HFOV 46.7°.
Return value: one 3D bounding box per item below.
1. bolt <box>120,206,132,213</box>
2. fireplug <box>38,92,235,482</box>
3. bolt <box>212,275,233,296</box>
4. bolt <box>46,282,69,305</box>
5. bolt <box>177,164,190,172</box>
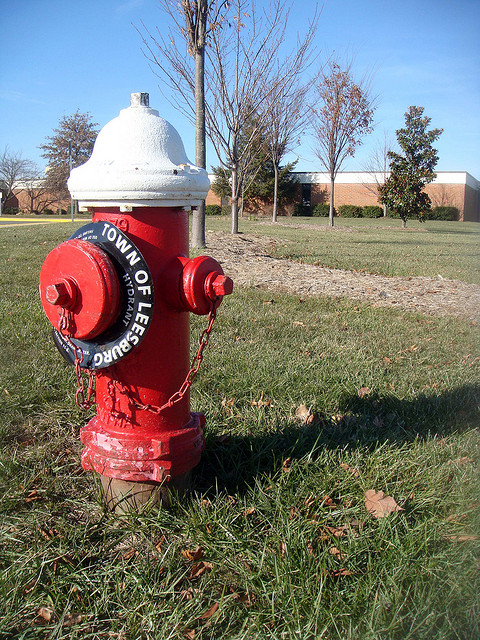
[{"bbox_3d":[-0.386,-0.379,1.901,0.022,0.023,0.006,6,10,7],"label":"bolt"},{"bbox_3d":[-0.375,-0.108,1.986,0.632,1.380,0.384,-5,12,-21],"label":"fireplug"},{"bbox_3d":[-0.060,-0.122,1.987,0.060,0.087,0.079,-4,-24,17],"label":"bolt"},{"bbox_3d":[-0.605,-0.088,1.824,0.093,0.069,0.049,10,16,41],"label":"bolt"},{"bbox_3d":[-0.197,-0.529,1.938,0.034,0.027,0.063,4,13,20],"label":"bolt"}]
